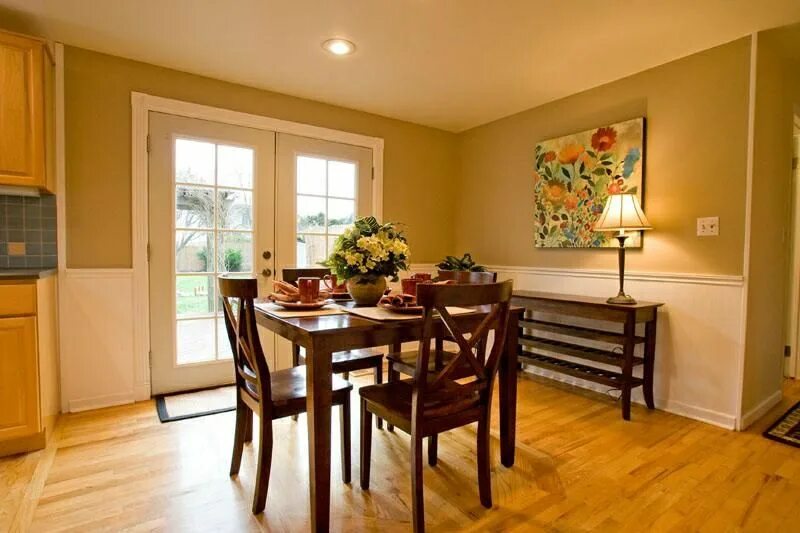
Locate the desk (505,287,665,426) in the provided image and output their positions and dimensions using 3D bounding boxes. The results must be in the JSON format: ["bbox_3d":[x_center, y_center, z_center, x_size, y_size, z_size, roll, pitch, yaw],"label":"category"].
[{"bbox_3d":[1.639,0.775,4.744,0.417,0.673,1.075,-6,8,-39],"label":"desk"}]

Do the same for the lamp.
[{"bbox_3d":[1.905,-0.169,4.721,0.434,0.929,0.453,2,5,22],"label":"lamp"}]

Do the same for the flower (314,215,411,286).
[{"bbox_3d":[-0.225,-0.127,4.008,0.508,0.335,0.495,0,7,-2],"label":"flower"}]

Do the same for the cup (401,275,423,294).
[{"bbox_3d":[0.091,0.126,4.023,0.137,0.112,0.137,1,5,0],"label":"cup"}]

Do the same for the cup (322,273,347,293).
[{"bbox_3d":[-0.494,0.125,4.190,0.197,0.132,0.121,-1,1,-6],"label":"cup"}]

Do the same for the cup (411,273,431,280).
[{"bbox_3d":[0.146,0.066,4.119,0.074,0.033,0.102,2,-5,-44],"label":"cup"}]

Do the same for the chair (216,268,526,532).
[{"bbox_3d":[-0.155,0.832,3.880,2.081,1.560,1.162,-1,5,-16],"label":"chair"}]
